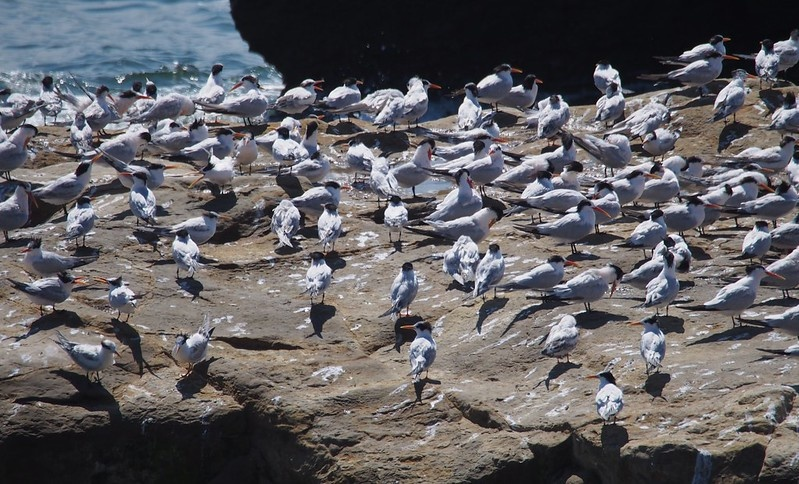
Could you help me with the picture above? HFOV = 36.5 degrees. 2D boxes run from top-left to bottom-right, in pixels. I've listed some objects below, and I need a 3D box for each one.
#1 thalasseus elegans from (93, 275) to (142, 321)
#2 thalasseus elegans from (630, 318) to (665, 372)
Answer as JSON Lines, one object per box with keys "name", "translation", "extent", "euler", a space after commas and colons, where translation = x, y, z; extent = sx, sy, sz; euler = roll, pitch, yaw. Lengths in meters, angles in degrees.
{"name": "thalasseus elegans", "translation": [-8.147, 1.485, 33.909], "extent": [0.662, 0.899, 1.800], "euler": [-16, 26, -35]}
{"name": "thalasseus elegans", "translation": [6.606, 2.725, 32.094], "extent": [0.766, 1.372, 1.192], "euler": [5, 16, 9]}
